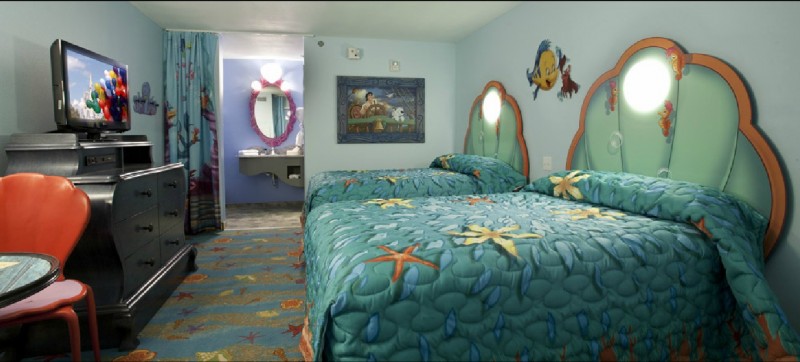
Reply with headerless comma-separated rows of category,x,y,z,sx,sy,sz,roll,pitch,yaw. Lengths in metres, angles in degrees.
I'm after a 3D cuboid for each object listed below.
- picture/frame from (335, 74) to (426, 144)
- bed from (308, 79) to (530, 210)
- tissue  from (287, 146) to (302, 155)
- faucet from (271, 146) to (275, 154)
picture/frame,-0.335,-1.227,7.065,1.953,1.141,0.082,-8,17,-39
bed,0.119,-0.522,6.121,3.209,1.530,1.947,-2,6,-9
tissue ,-2.104,-0.595,7.979,0.258,0.119,0.224,0,1,-2
faucet,-2.525,-0.613,7.968,0.083,0.116,0.109,-3,12,-17
